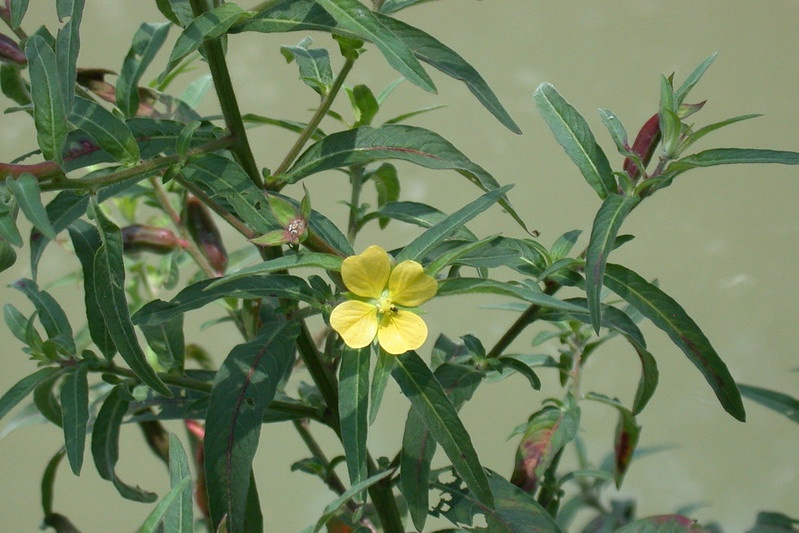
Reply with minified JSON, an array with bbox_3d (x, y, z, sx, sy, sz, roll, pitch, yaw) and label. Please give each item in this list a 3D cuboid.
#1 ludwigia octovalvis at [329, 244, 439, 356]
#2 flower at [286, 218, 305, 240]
[{"bbox_3d":[-0.017,0.046,1.093,0.116,0.097,0.109,17,-50,-30],"label":"ludwigia octovalvis"},{"bbox_3d":[-0.129,-0.048,1.126,0.028,0.024,0.016,-19,-42,5],"label":"flower"}]
